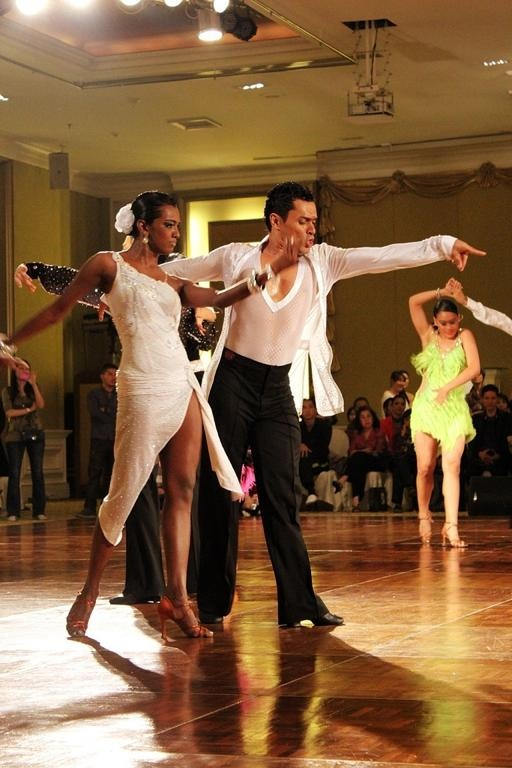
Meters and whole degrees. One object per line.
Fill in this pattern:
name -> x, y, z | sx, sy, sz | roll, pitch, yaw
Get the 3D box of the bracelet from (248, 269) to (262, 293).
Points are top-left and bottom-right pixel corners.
bracelet -> -0.006, -0.345, 2.404 | 0.050, 0.074, 0.032 | 0, 0, -8

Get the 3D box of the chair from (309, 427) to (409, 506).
chair -> 1.414, 1.218, 9.883 | 1.315, 1.012, 0.866 | 0, 0, 1

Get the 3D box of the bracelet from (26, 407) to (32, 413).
bracelet -> -3.047, 0.350, 9.541 | 0.069, 0.054, 0.016 | 1, -5, -37

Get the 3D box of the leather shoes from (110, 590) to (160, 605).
leather shoes -> -0.573, 0.998, 3.351 | 0.246, 0.070, 0.079 | 3, -10, -7

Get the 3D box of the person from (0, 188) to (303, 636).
person -> -0.362, 0.098, 2.485 | 0.833, 1.580, 0.308 | 0, 0, 1

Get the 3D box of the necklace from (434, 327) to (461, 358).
necklace -> 1.567, -0.342, 5.860 | 0.199, 0.218, 0.087 | -1, 11, 12

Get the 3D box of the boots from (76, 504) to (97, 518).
boots -> -2.216, 1.674, 9.338 | 0.352, 0.198, 0.121 | 4, -3, 3

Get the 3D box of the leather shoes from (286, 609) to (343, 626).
leather shoes -> 0.221, 0.880, 2.678 | 0.212, 0.068, 0.069 | -9, -6, 0
